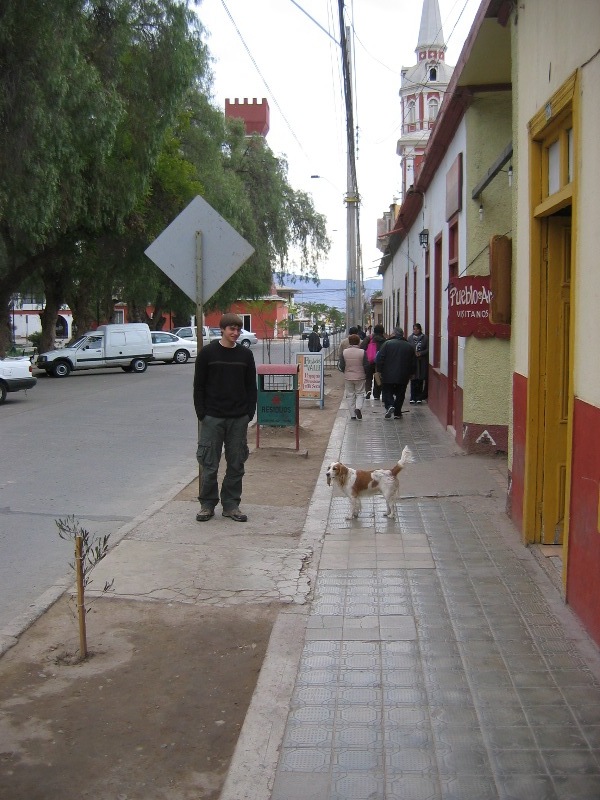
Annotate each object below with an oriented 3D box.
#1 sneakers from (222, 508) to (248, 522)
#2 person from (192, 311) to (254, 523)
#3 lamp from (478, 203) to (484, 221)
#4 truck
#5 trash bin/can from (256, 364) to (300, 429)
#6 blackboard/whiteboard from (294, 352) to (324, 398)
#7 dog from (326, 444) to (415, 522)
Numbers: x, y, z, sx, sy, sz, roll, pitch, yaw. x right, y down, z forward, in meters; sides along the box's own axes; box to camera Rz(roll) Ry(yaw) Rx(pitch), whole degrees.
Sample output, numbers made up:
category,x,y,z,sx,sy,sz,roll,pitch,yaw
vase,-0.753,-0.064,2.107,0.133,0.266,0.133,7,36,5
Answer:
category,x,y,z,sx,sy,sz,roll,pitch,yaw
sneakers,-0.572,0.979,6.710,0.215,0.133,0.092,1,4,36
person,-0.653,0.248,6.682,0.526,1.605,0.284,-1,3,-12
lamp,2.381,-2.478,10.214,0.061,0.205,0.030,0,3,17
truck,-7.958,-1.954,30.543,3.375,2.566,2.297,0,3,-23
trash bin/can,-0.310,-0.065,11.517,0.671,1.408,0.679,0,5,5
blackboard/whiteboard,0.214,-0.504,17.677,0.546,1.120,0.913,-1,3,4
dog,0.625,0.720,6.943,0.689,0.606,0.655,0,3,14
